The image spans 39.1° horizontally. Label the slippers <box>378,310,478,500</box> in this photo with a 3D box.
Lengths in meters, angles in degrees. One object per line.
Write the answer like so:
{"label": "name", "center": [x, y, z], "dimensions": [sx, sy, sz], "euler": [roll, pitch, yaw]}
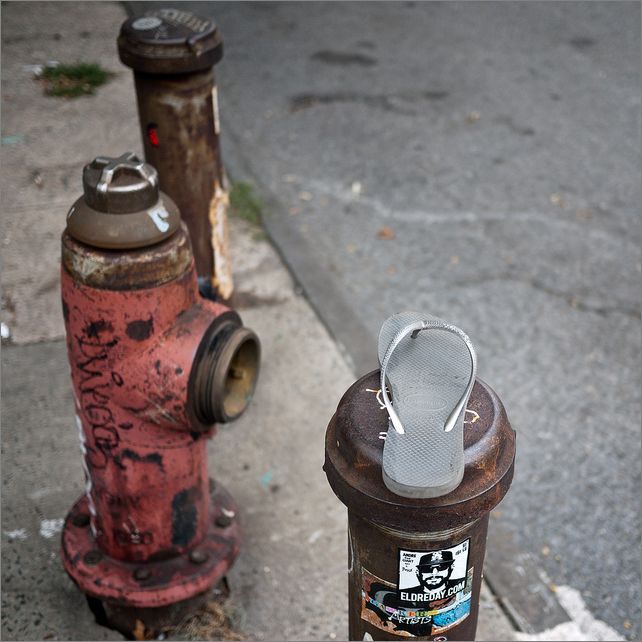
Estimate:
{"label": "slippers", "center": [0.315, 0.210, 2.764], "dimensions": [0.320, 0.147, 0.843], "euler": [2, 33, 6]}
